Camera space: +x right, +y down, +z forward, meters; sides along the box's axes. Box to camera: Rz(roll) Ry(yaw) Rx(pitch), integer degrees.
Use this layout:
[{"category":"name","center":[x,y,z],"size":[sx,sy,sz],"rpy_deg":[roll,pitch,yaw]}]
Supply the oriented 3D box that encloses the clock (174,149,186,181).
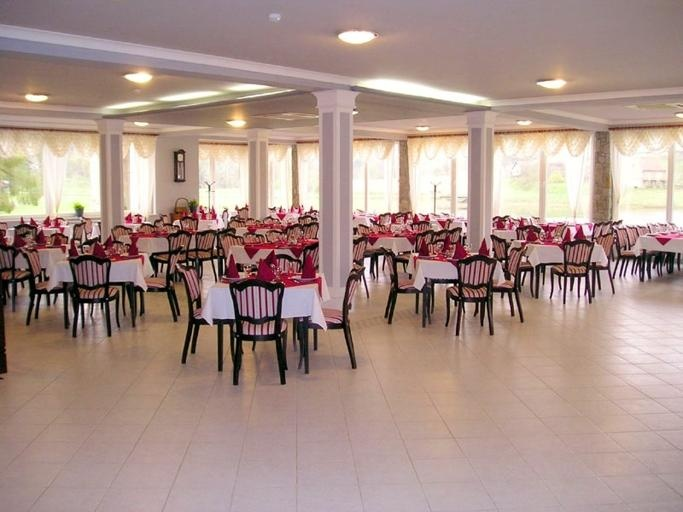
[{"category":"clock","center":[-5.454,-3.015,17.019],"size":[0.485,1.089,0.158],"rpy_deg":[-9,14,-42]}]

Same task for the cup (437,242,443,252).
[{"category":"cup","center":[1.595,-0.129,8.080],"size":[0.088,0.110,0.042],"rpy_deg":[11,4,-31]}]
